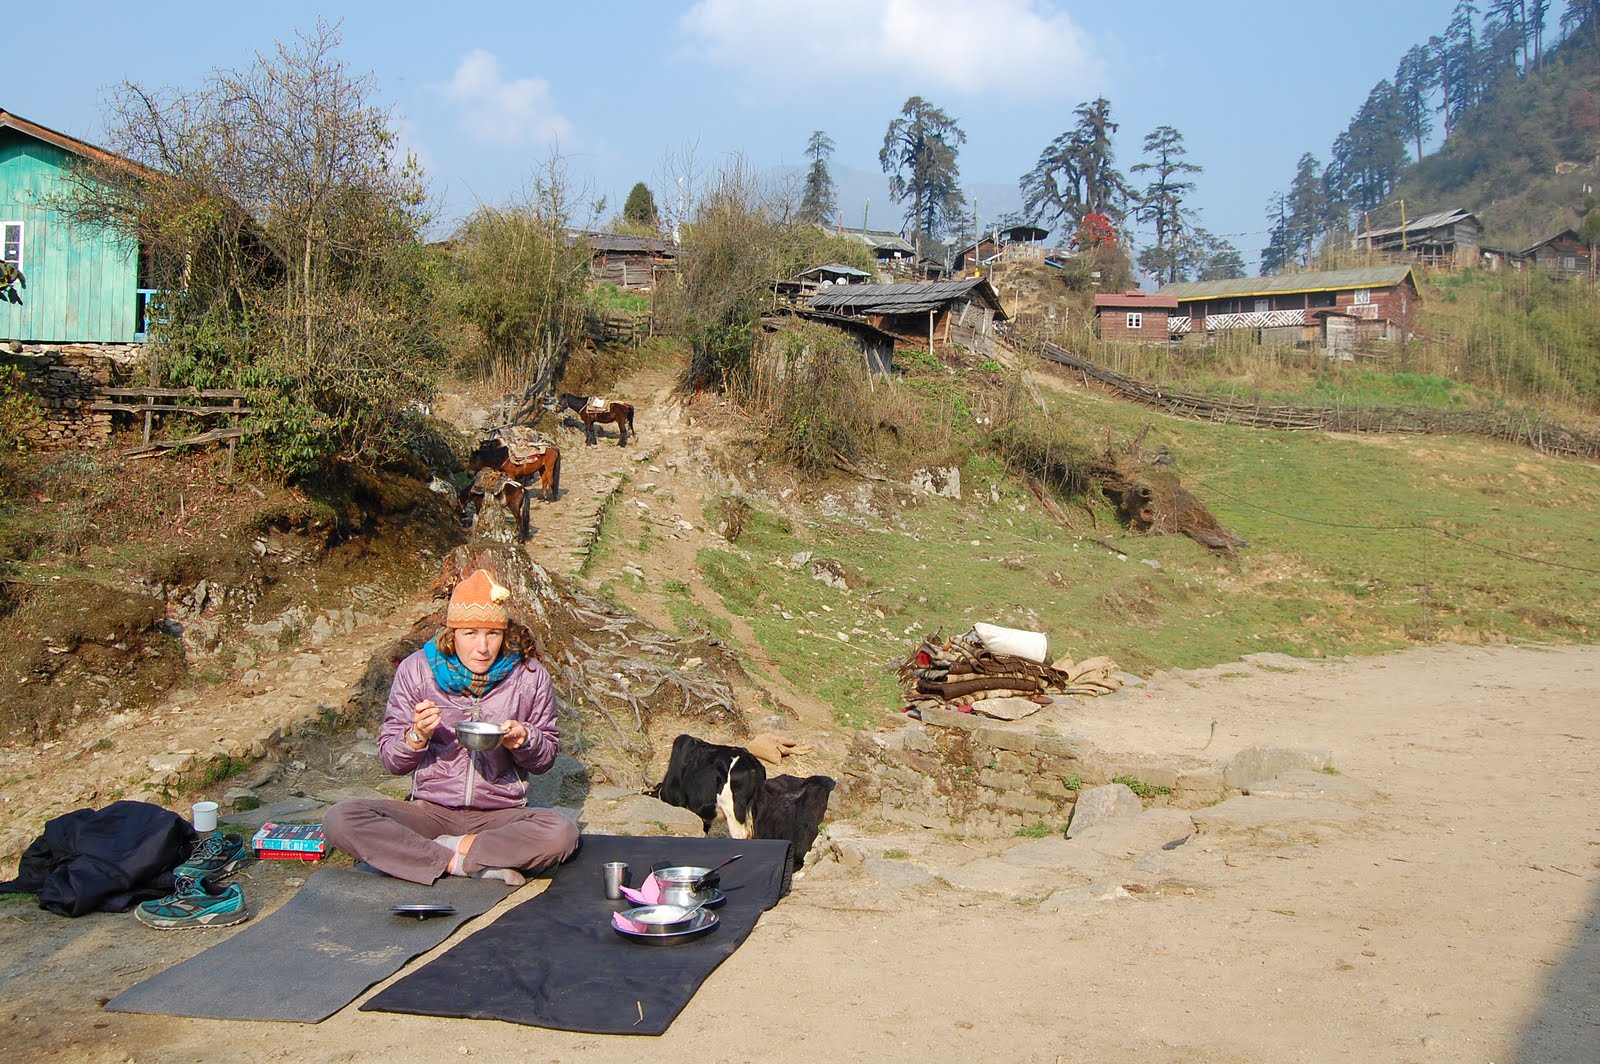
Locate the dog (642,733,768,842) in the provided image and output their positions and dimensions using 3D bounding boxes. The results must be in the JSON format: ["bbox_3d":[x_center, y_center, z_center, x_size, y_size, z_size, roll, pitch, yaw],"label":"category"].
[{"bbox_3d":[-1.114,2.835,14.680,0.669,0.977,2.000,5,1,-31],"label":"dog"}]

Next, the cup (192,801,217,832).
[{"bbox_3d":[-5.390,2.536,11.905,0.199,0.238,0.298,-2,9,-25],"label":"cup"}]

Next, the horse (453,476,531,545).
[{"bbox_3d":[-4.756,-0.495,20.259,1.565,0.949,0.416,7,1,27],"label":"horse"}]

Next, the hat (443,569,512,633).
[{"bbox_3d":[-2.827,0.577,11.588,0.541,0.516,0.196,0,8,-12],"label":"hat"}]

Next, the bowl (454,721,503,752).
[{"bbox_3d":[-2.769,1.759,11.431,0.370,0.281,0.354,2,8,0],"label":"bowl"}]

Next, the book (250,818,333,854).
[{"bbox_3d":[-4.608,2.753,11.929,0.420,0.096,0.418,4,3,-5],"label":"book"}]
